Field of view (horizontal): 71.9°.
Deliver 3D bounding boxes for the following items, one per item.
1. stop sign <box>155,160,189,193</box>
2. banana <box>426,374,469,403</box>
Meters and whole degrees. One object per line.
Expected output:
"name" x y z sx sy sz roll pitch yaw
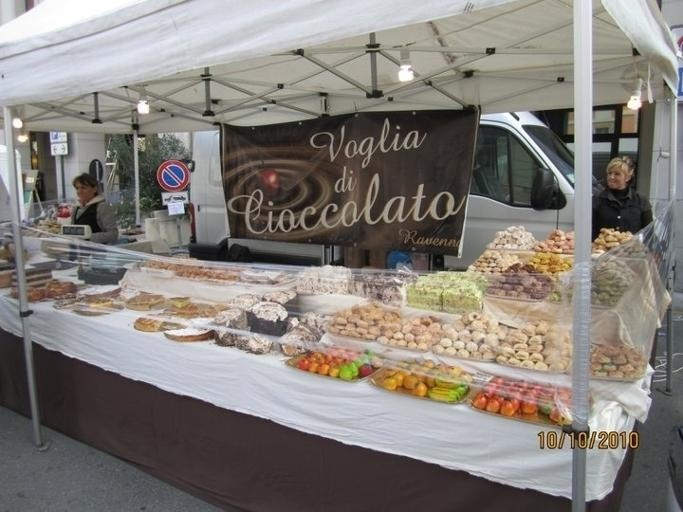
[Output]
"stop sign" -2.826 -1.339 7.936 0.484 0.524 0.252 -4 13 -14
"banana" 0.537 0.666 2.331 0.158 0.118 0.057 4 -29 13
